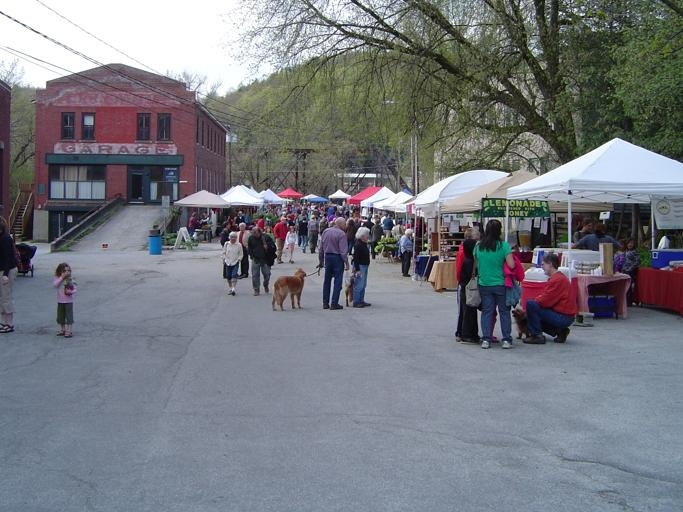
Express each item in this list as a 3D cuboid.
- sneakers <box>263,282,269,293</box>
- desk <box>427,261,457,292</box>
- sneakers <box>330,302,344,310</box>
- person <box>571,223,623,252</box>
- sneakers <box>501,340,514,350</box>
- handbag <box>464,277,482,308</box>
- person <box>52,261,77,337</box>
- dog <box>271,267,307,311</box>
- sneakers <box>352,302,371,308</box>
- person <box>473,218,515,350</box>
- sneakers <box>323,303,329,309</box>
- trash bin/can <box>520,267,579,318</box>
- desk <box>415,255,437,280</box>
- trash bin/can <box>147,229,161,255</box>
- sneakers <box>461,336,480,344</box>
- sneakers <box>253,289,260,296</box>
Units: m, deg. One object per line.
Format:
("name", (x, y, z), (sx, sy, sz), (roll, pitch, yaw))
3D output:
("sneakers", (-2.227, 0.994, 17.082), (0.112, 0.406, 0.148), (0, 19, -2))
("desk", (3.235, 0.628, 18.117), (0.769, 0.904, 0.488), (0, 3, -14))
("sneakers", (-0.120, 1.287, 14.668), (0.314, 0.162, 0.115), (-2, 2, -9))
("person", (6.829, -0.506, 15.575), (1.016, 0.668, 0.285), (5, 7, 16))
("sneakers", (2.935, 1.574, 10.246), (0.107, 0.144, 0.325), (0, -6, 13))
("handbag", (2.449, 0.764, 10.622), (0.330, 0.881, 0.661), (1, -5, 9))
("person", (-5.389, 0.802, 11.297), (0.317, 1.362, 1.306), (-1, 4, -26))
("dog", (-1.376, 0.832, 14.814), (0.788, 0.967, 1.536), (0, 4, -8))
("sneakers", (0.528, 1.257, 14.853), (0.445, 0.230, 0.160), (-1, -1, 19))
("person", (2.678, 0.491, 10.208), (0.646, 2.254, 0.375), (1, 3, 13))
("sneakers", (-0.372, 1.275, 14.704), (0.163, 0.092, 0.187), (0, 4, -8))
("trash bin/can", (3.899, 0.720, 11.119), (1.149, 1.196, 0.948), (4, 2, 23))
("desk", (2.966, 0.403, 20.164), (0.649, 0.717, 0.665), (-1, 0, -35))
("trash bin/can", (-10.072, -0.782, 31.358), (0.609, 1.337, 0.442), (0, 3, -10))
("sneakers", (2.323, 1.529, 10.456), (0.341, 0.176, 0.138), (-1, 2, 0))
("sneakers", (-2.466, 1.062, 16.932), (0.188, 0.220, 0.100), (3, 4, 2))
